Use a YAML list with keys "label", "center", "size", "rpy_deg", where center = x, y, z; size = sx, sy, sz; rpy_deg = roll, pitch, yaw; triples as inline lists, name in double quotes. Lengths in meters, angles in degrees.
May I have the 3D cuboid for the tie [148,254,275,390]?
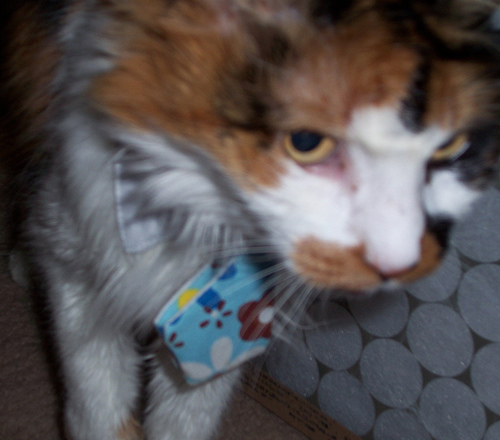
- label: "tie"
  center: [-0.059, 0.158, 0.949]
  size: [0.213, 0.066, 0.178]
  rpy_deg: [-29, 101, -13]
